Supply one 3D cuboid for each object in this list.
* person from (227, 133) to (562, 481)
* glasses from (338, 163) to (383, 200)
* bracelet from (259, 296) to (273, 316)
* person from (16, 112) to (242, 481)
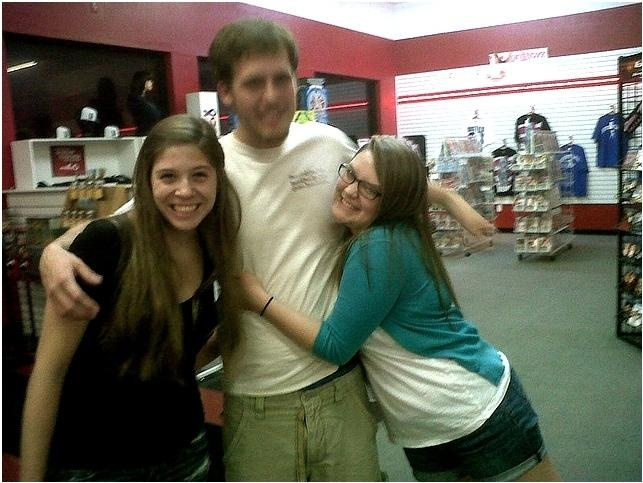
[{"bbox_3d":[0.318,0.272,1.744,1.034,1.316,0.384,-4,10,-5],"label":"person"},{"bbox_3d":[0.138,-0.215,1.709,0.061,0.129,0.146,-12,14,-43],"label":"glasses"},{"bbox_3d":[-0.194,0.232,1.665,0.015,0.056,0.060,34,4,6],"label":"bracelet"},{"bbox_3d":[-0.613,0.267,1.569,0.763,1.335,0.231,-7,10,-20],"label":"person"}]
